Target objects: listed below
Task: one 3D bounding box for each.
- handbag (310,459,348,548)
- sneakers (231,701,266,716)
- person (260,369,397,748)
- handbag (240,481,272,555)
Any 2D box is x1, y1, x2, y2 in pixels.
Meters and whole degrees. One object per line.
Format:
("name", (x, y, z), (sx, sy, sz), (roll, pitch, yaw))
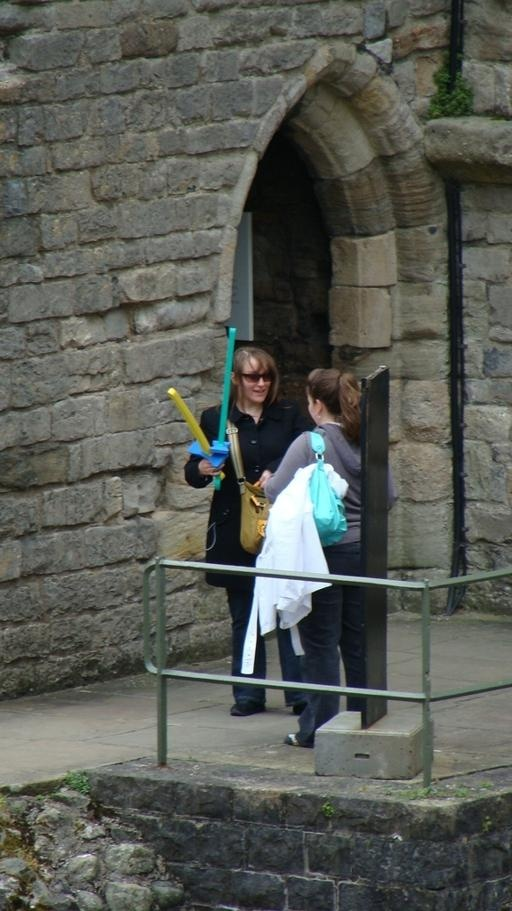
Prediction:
("handbag", (0.242, 0.148, 5.139), (0.101, 0.295, 0.175), (-3, -5, 11))
("sneakers", (-0.034, 1.002, 6.028), (0.153, 0.064, 0.052), (-5, 10, -42))
("person", (0.254, 0.352, 5.239), (0.444, 1.345, 0.648), (-2, -5, 4))
("handbag", (-0.003, 0.220, 5.573), (0.148, 0.330, 0.279), (2, -1, -2))
